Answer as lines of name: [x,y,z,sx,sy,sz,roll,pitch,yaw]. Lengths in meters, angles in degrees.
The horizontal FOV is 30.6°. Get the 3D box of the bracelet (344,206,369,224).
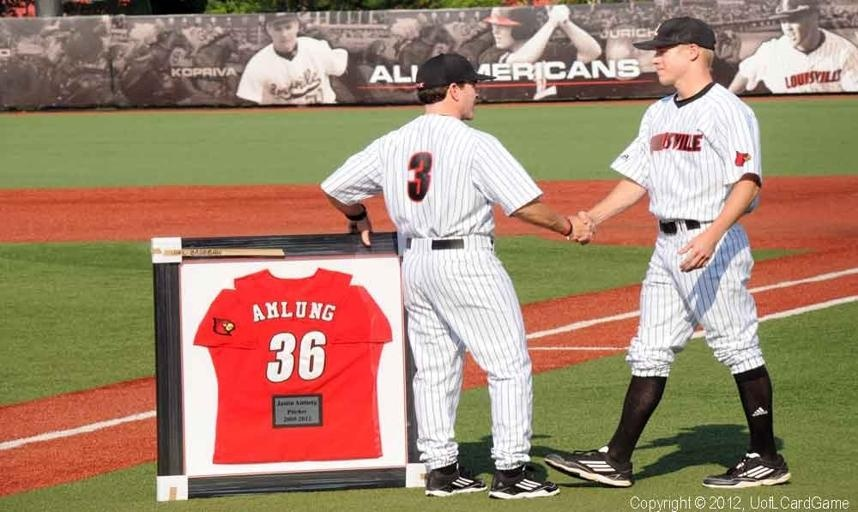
bracelet: [-1.070,-0.644,24.349,0.310,0.233,0.141,7,-3,14]

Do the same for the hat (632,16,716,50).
hat: [3.872,-3.444,24.341,1.066,0.333,0.616,-1,7,-3]
